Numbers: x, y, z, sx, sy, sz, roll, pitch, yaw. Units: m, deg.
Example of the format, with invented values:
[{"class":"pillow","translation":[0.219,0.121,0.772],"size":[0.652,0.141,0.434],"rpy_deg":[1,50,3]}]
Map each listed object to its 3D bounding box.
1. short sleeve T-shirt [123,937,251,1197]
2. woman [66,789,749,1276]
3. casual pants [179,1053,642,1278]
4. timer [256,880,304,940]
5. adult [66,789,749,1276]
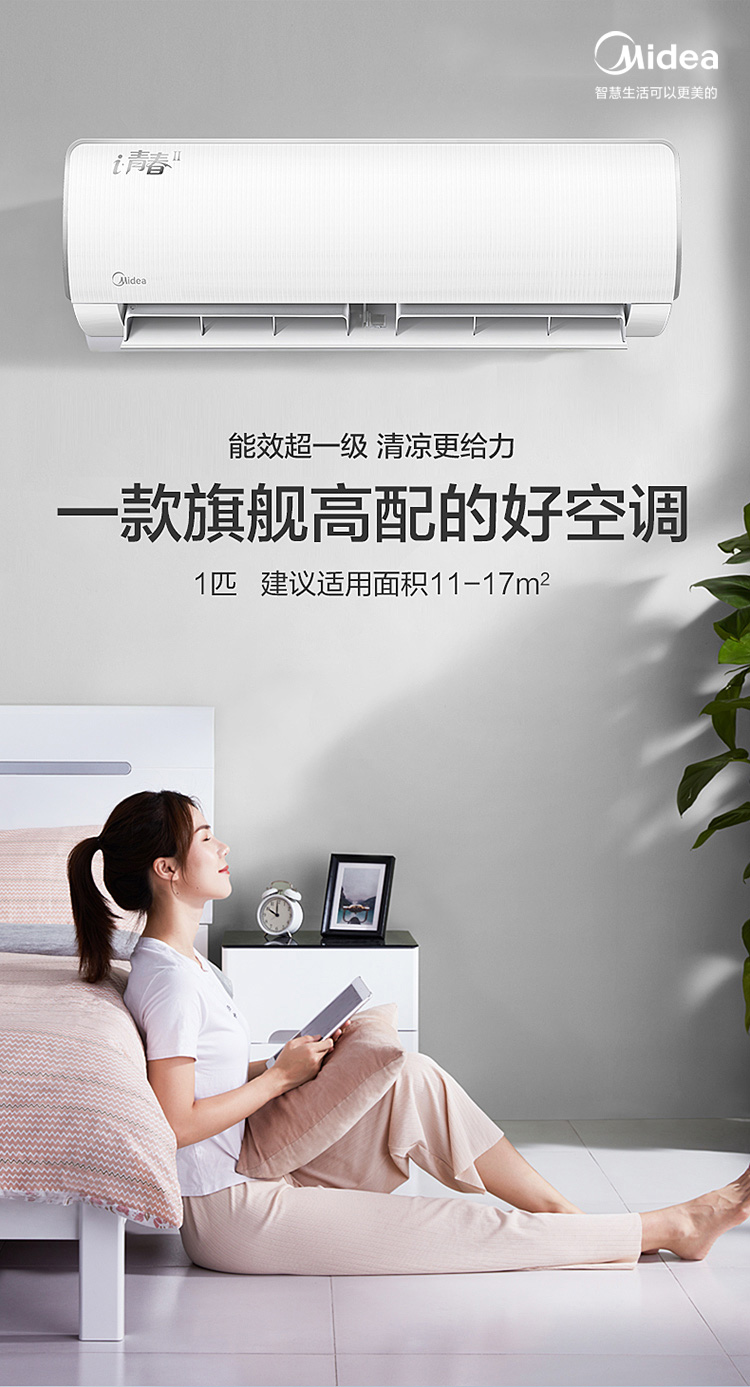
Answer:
[{"class":"short sleeve T-shirt","translation":[-0.283,0.567,1.903],"size":[0.169,0.383,0.325],"rpy_deg":[-13,-1,-5]},{"class":"woman","translation":[0.163,0.585,2.421],"size":[1.328,0.998,0.542],"rpy_deg":[0,-2,-7]},{"class":"casual pants","translation":[0.053,0.751,2.064],"size":[0.759,0.371,0.277],"rpy_deg":[-6,-5,10]},{"class":"timer","translation":[-0.213,0.493,2.889],"size":[0.092,0.141,0.054],"rpy_deg":[-1,-10,14]},{"class":"adult","translation":[0.136,0.591,2.441],"size":[1.328,0.998,0.542],"rpy_deg":[0,-2,-7]}]
